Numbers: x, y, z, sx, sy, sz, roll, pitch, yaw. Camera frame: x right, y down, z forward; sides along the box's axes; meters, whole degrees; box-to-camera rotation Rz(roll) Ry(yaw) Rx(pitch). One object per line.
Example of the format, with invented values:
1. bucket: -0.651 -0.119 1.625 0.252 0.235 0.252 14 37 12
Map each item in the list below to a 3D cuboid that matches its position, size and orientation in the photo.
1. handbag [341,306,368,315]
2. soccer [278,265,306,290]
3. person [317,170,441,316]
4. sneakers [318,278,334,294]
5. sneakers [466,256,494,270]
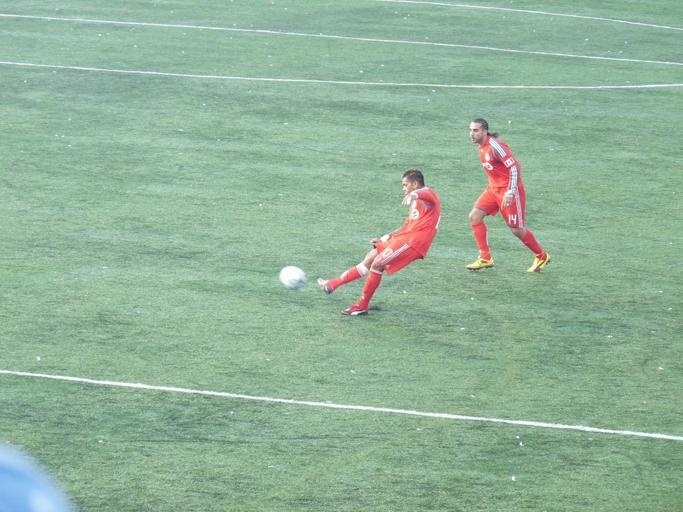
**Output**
1. handbag: 0.182 0.779 22.072 0.327 0.078 0.146 2 0 -3
2. soccer: -0.695 0.307 22.299 0.435 0.401 0.290 -8 58 15
3. person: 0.646 -0.181 22.087 1.416 1.988 0.608 -13 32 -34
4. sneakers: -0.280 0.429 22.206 0.281 0.147 0.130 29 53 29
5. sneakers: 2.027 0.139 22.979 0.490 0.151 0.155 -2 6 -2
